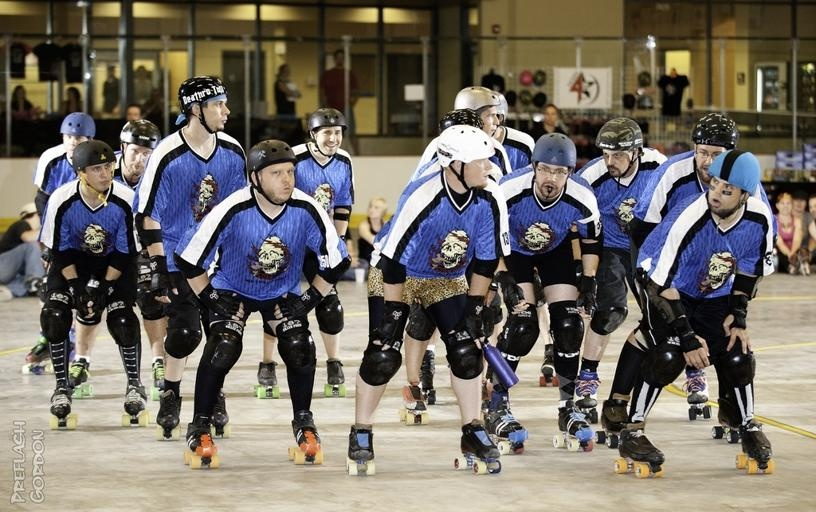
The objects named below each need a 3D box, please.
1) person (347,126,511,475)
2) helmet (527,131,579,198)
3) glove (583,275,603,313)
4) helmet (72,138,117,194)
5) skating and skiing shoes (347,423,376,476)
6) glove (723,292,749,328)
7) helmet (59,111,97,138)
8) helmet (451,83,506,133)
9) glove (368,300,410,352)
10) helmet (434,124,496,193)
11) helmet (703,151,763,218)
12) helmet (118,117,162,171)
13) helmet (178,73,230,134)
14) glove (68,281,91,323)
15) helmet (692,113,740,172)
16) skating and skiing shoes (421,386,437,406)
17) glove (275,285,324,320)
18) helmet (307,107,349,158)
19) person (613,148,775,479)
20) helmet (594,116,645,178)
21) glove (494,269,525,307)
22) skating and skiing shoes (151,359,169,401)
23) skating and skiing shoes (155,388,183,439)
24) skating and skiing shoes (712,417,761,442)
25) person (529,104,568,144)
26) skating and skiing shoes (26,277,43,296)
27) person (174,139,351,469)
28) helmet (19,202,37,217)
[{"bbox_3d":[0.312,0.359,9.308,1.025,2.834,0.520,1,10,5],"label":"person"},{"bbox_3d":[1.315,-0.799,10.099,0.400,0.626,0.494,6,20,-1],"label":"helmet"},{"bbox_3d":[1.654,0.361,10.334,0.189,0.333,0.115,0,-2,-22],"label":"glove"},{"bbox_3d":[-2.933,-0.850,10.496,0.371,0.492,0.438,-14,15,-42],"label":"helmet"},{"bbox_3d":[-0.385,1.613,9.391,0.160,0.284,0.458,0,-1,-5],"label":"skating and skiing shoes"},{"bbox_3d":[2.756,0.474,9.369,0.162,0.286,0.173,6,-11,11],"label":"glove"},{"bbox_3d":[-3.496,-1.386,11.866,0.258,0.314,0.327,3,10,-3],"label":"helmet"},{"bbox_3d":[0.682,-1.408,10.938,0.447,0.464,0.366,-2,8,-3],"label":"helmet"},{"bbox_3d":[-0.119,0.565,9.338,0.232,0.445,0.337,12,3,5],"label":"glove"},{"bbox_3d":[0.441,-0.776,9.255,0.475,0.518,0.384,7,8,5],"label":"helmet"},{"bbox_3d":[2.685,-0.611,9.205,0.554,0.559,0.391,0,18,-43],"label":"helmet"},{"bbox_3d":[-2.727,-1.125,11.220,0.404,0.515,0.515,11,9,-25],"label":"helmet"},{"bbox_3d":[-1.911,-1.369,10.289,0.479,0.564,0.443,-8,14,-9],"label":"helmet"},{"bbox_3d":[-3.105,0.424,10.564,0.174,0.435,0.317,-3,10,-18],"label":"glove"},{"bbox_3d":[2.821,-1.161,10.035,0.375,0.509,0.488,9,-29,27],"label":"helmet"},{"bbox_3d":[0.200,1.385,11.085,0.136,0.183,0.392,1,5,-2],"label":"skating and skiing shoes"},{"bbox_3d":[-0.905,0.403,9.432,0.213,0.349,0.133,43,-5,9],"label":"glove"},{"bbox_3d":[-0.873,-1.315,11.989,0.382,0.537,0.508,2,2,-18],"label":"helmet"},{"bbox_3d":[2.424,0.469,9.241,1.228,2.640,0.651,1,10,8],"label":"person"},{"bbox_3d":[2.057,-1.029,10.869,0.402,0.612,0.526,7,14,37],"label":"helmet"},{"bbox_3d":[0.902,0.317,10.066,0.137,0.346,0.195,-14,-21,-42],"label":"glove"},{"bbox_3d":[-2.421,1.226,11.197,0.217,0.301,0.663,0,1,-11],"label":"skating and skiing shoes"},{"bbox_3d":[-2.132,1.393,9.997,0.157,0.237,0.481,2,35,-10],"label":"skating and skiing shoes"},{"bbox_3d":[2.855,1.560,9.913,0.229,0.194,0.386,3,-3,-13],"label":"skating and skiing shoes"},{"bbox_3d":[2.187,-1.996,17.230,0.688,0.644,0.375,-1,1,2],"label":"person"},{"bbox_3d":[-5.364,0.418,16.068,0.217,0.225,0.132,7,7,16],"label":"skating and skiing shoes"},{"bbox_3d":[-1.233,0.401,9.388,1.364,2.689,0.453,-1,10,-8],"label":"person"},{"bbox_3d":[-5.692,-0.690,16.782,0.291,0.214,0.412,2,-8,-25],"label":"helmet"}]
